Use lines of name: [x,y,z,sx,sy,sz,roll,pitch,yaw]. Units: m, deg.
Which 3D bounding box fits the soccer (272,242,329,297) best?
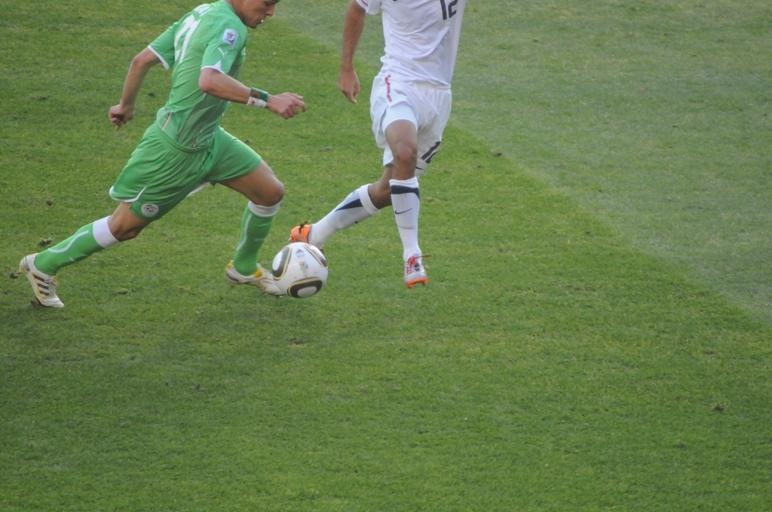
soccer: [-0.676,0.103,11.699,0.417,0.328,0.442,-1,-5,-10]
